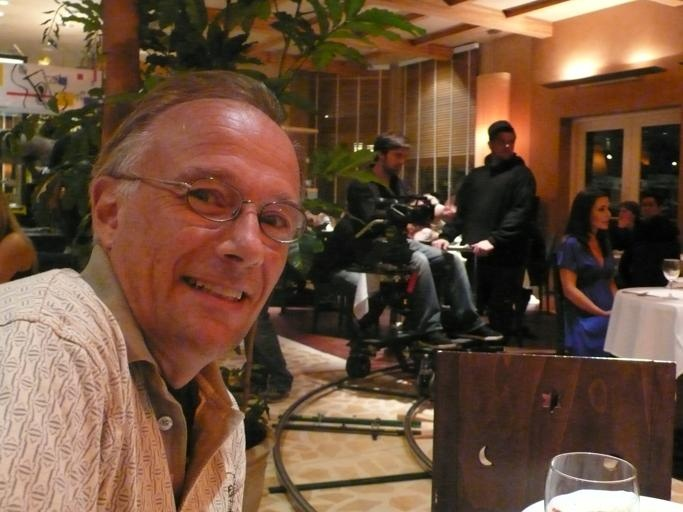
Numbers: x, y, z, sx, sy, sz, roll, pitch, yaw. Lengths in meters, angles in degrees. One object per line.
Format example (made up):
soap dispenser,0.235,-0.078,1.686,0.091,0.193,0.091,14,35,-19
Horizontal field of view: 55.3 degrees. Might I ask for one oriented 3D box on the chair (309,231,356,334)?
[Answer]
chair,-0.083,0.217,4.721,0.396,0.523,0.388,1,14,-8
